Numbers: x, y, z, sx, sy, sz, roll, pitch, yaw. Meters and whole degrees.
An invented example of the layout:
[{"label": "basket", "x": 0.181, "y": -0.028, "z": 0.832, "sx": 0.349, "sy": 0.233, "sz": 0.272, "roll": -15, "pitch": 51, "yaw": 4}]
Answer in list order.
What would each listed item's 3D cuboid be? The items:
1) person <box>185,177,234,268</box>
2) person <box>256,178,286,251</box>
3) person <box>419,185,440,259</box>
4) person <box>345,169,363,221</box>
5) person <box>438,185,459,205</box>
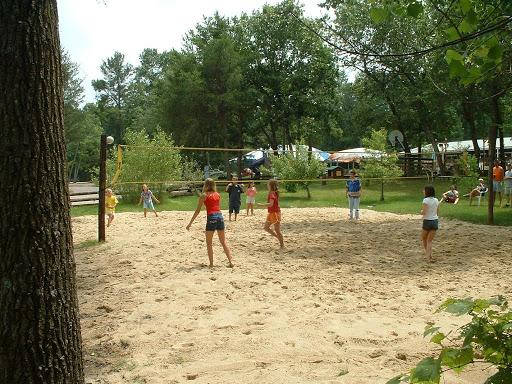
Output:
[{"label": "person", "x": -0.799, "y": 0.436, "z": 8.934, "sx": 0.736, "sy": 1.434, "sz": 1.621, "roll": -2, "pitch": 9, "yaw": -6}, {"label": "person", "x": 0.322, "y": 0.406, "z": 9.871, "sx": 0.423, "sy": 1.321, "sz": 0.989, "roll": 0, "pitch": 9, "yaw": 3}, {"label": "person", "x": 2.880, "y": 0.540, "z": 8.711, "sx": 0.248, "sy": 1.309, "sz": 0.598, "roll": 3, "pitch": 10, "yaw": 20}, {"label": "person", "x": 2.536, "y": 0.082, "z": 13.655, "sx": 0.355, "sy": 1.359, "sz": 1.497, "roll": 1, "pitch": 9, "yaw": 10}, {"label": "person", "x": 6.258, "y": 0.152, "z": 17.068, "sx": 0.714, "sy": 0.645, "sz": 0.895, "roll": 1, "pitch": 0, "yaw": 42}]
